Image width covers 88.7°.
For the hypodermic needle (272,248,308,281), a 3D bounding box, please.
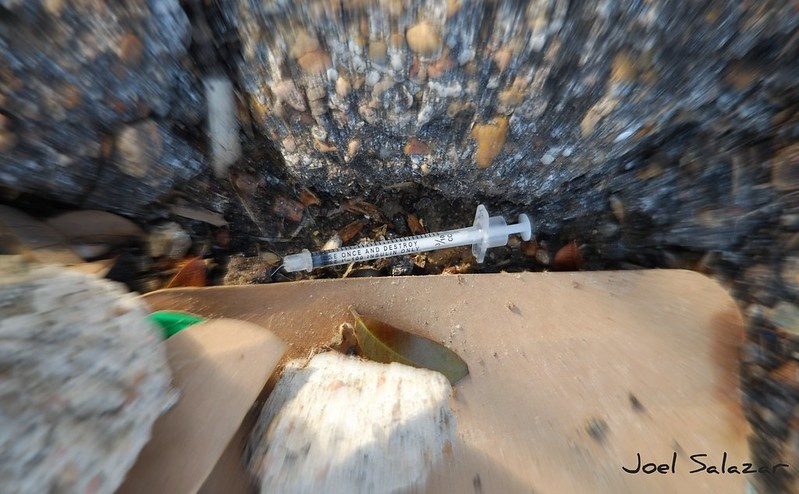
[{"bbox_3d":[-0.473,0.077,1.728,0.132,0.055,0.068,-20,4,-13],"label":"hypodermic needle"}]
